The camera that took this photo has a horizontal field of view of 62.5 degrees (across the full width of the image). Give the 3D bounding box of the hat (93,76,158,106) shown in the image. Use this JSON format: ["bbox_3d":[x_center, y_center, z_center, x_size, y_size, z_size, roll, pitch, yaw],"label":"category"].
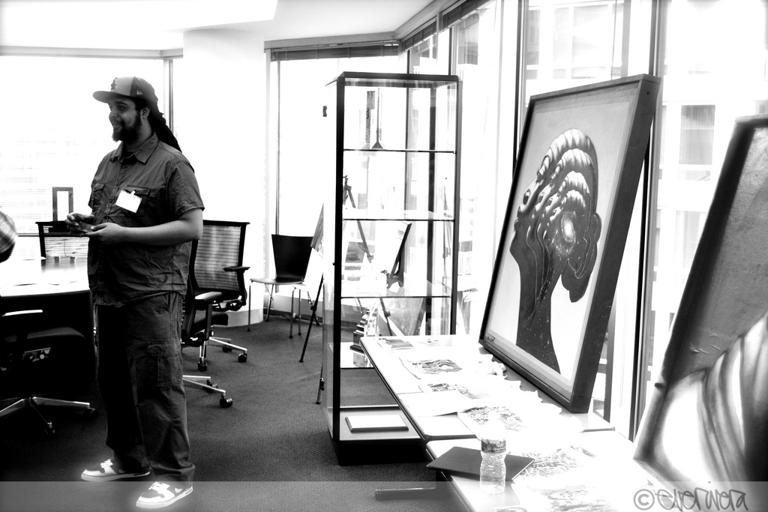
[{"bbox_3d":[-1.649,-1.034,4.058,0.322,0.161,0.197,8,7,-39],"label":"hat"}]

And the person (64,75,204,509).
[{"bbox_3d":[-1.569,0.225,4.106,0.821,2.707,0.529,6,10,24],"label":"person"}]

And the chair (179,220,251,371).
[{"bbox_3d":[-1.817,0.392,6.481,0.836,1.350,0.853,3,17,3],"label":"chair"}]

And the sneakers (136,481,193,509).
[{"bbox_3d":[-1.395,1.524,4.086,0.344,0.153,0.150,6,-4,-44],"label":"sneakers"}]

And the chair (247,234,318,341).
[{"bbox_3d":[-1.235,0.346,7.672,0.690,1.151,0.693,9,5,31],"label":"chair"}]

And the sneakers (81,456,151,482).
[{"bbox_3d":[-1.864,1.496,4.458,0.500,0.205,0.189,4,-4,-5],"label":"sneakers"}]

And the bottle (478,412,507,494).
[{"bbox_3d":[0.455,0.802,2.639,0.110,0.210,0.360,4,9,10],"label":"bottle"}]
